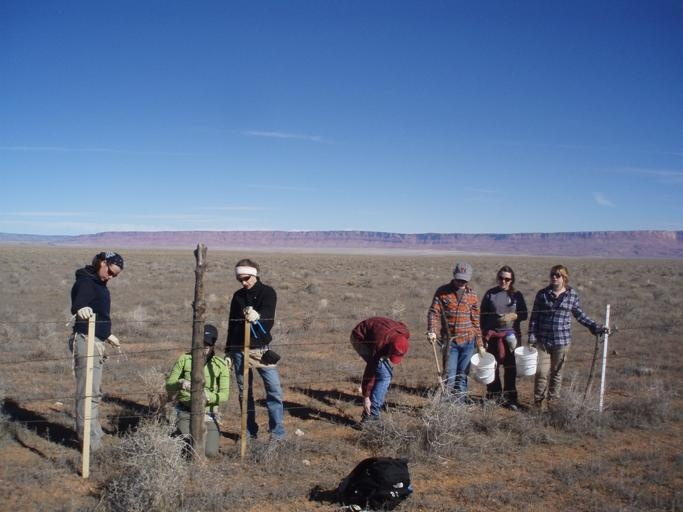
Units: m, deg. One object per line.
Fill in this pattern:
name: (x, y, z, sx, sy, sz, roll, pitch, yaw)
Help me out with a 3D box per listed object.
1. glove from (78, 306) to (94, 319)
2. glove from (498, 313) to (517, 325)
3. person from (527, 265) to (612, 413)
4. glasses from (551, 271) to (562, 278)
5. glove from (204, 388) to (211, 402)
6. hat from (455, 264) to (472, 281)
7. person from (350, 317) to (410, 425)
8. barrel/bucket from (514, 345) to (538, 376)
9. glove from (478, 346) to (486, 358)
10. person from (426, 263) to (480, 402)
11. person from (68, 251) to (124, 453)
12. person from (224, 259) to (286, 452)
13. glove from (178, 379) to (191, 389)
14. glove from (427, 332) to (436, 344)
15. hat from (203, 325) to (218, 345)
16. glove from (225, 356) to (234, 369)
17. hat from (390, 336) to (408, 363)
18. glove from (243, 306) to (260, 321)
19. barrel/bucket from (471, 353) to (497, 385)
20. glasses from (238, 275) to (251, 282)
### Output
glove: (-4.026, 0.922, 9.438, 0.226, 0.218, 0.153, -5, 10, -31)
glove: (3.392, 1.277, 12.140, 0.294, 0.196, 0.139, -10, 8, 23)
person: (4.253, 1.585, 11.612, 1.143, 2.745, 0.618, 4, 9, 20)
glasses: (4.151, 0.362, 11.615, 0.077, 0.113, 0.251, -1, 9, -9)
glove: (-2.220, 2.316, 9.975, 0.048, 0.197, 0.145, -12, -38, -5)
hat: (2.307, 0.305, 11.372, 0.300, 0.362, 0.356, 2, 9, 10)
person: (0.694, 2.092, 10.589, 1.182, 1.919, 0.597, 8, 11, 40)
barrel/bucket: (3.549, 2.095, 11.755, 0.468, 0.539, 0.517, -4, 4, -13)
glove: (2.713, 1.845, 11.497, 0.128, 0.196, 0.064, -1, 44, 30)
person: (2.213, 1.472, 11.494, 1.027, 2.707, 1.260, 3, 9, 14)
person: (-4.024, 1.576, 9.857, 0.718, 3.227, 0.823, 8, 11, 44)
person: (-1.458, 1.680, 10.247, 0.996, 3.268, 1.142, -1, 8, -8)
glove: (-2.559, 2.109, 9.849, 0.149, 0.169, 0.060, -10, -17, 3)
glove: (1.714, 1.527, 11.160, 0.091, 0.167, 0.216, -6, 33, -12)
hat: (-2.208, 1.359, 10.101, 0.188, 0.428, 0.299, -1, 9, -11)
glove: (-1.902, 1.814, 10.232, 0.132, 0.244, 0.072, 8, 16, 43)
hat: (0.976, 1.609, 10.091, 0.284, 0.495, 0.305, 1, 8, 2)
glove: (-1.446, 0.956, 9.741, 0.245, 0.226, 0.351, -1, 9, -11)
barrel/bucket: (2.787, 2.158, 11.676, 0.548, 0.486, 0.587, -8, 24, 4)
glasses: (-1.607, 0.379, 9.945, 0.225, 0.143, 0.173, 0, 9, -7)
